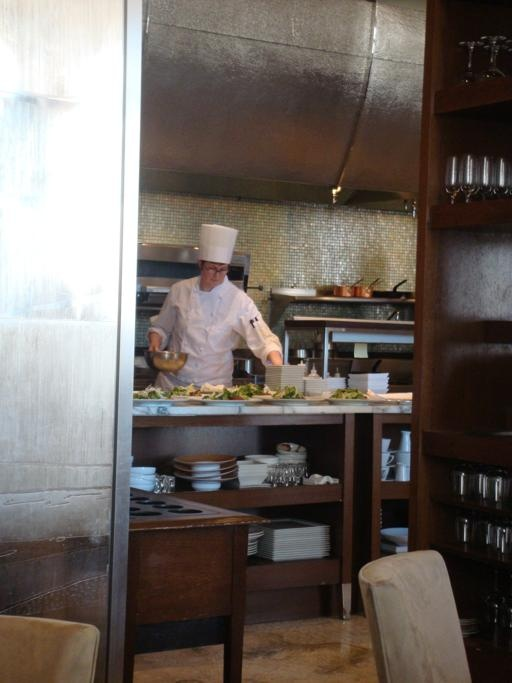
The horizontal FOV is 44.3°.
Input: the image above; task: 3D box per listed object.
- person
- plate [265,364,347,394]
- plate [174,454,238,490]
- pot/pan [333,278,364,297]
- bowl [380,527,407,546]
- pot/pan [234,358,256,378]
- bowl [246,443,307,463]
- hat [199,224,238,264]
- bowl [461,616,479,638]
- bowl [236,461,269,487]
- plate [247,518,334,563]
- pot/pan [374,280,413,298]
[{"bbox_3d":[-0.302,-0.238,4.399,0.946,0.827,0.584,1,-1,2],"label":"person"},{"bbox_3d":[0.249,0.231,3.692,0.282,0.089,0.277,-1,0,-43],"label":"plate"},{"bbox_3d":[-0.250,0.627,3.018,0.320,0.117,0.229,1,-1,-1],"label":"plate"},{"bbox_3d":[0.958,-0.531,6.297,0.341,0.220,0.179,0,0,-2],"label":"pot/pan"},{"bbox_3d":[0.787,1.083,3.528,0.152,0.038,0.154,0,2,0],"label":"bowl"},{"bbox_3d":[-0.089,0.220,5.125,0.157,0.135,0.150,-1,3,6],"label":"pot/pan"},{"bbox_3d":[0.129,0.592,3.298,0.221,0.079,0.136,1,-6,-8],"label":"bowl"},{"bbox_3d":[-0.236,-0.667,4.440,0.288,0.251,0.263,14,5,21],"label":"hat"},{"bbox_3d":[0.625,0.838,1.849,0.050,0.018,0.051,-1,-2,0],"label":"bowl"},{"bbox_3d":[-0.017,0.641,3.090,0.123,0.084,0.137,1,3,-16],"label":"bowl"},{"bbox_3d":[0.130,1.023,3.253,0.479,0.130,0.273,1,-1,-24],"label":"plate"},{"bbox_3d":[1.382,-0.506,6.535,0.349,0.197,0.315,0,3,-15],"label":"pot/pan"}]
